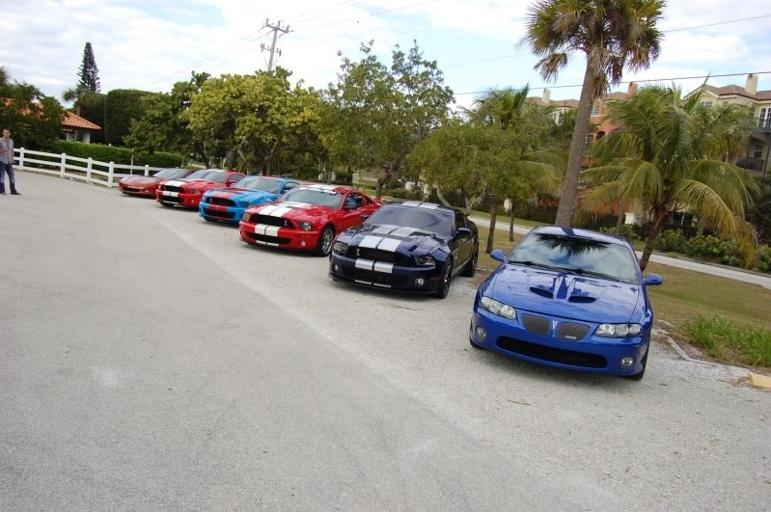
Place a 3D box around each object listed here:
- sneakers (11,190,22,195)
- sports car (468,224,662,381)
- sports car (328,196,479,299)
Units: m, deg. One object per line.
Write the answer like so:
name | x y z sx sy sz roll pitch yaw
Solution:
sneakers | -12.887 -2.223 16.663 0.343 0.227 0.116 -5 18 -23
sports car | 2.682 0.702 7.036 2.232 1.668 2.563 14 14 30
sports car | 0.538 -0.238 10.649 2.227 1.733 3.366 12 14 25
